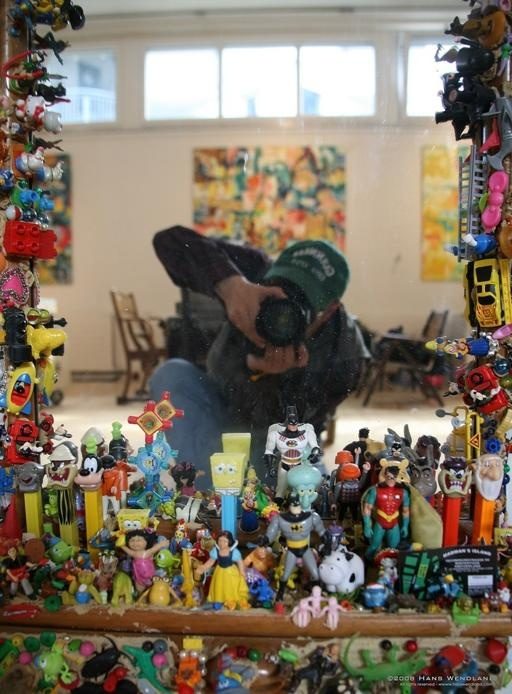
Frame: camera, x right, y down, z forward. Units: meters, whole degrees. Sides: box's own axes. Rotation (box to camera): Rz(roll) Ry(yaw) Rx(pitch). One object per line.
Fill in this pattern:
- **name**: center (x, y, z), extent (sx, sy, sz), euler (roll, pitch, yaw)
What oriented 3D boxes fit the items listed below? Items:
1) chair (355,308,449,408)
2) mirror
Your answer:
- **chair**: center (0.774, 0.029, 3.575), extent (0.517, 0.590, 0.491), euler (1, 3, -1)
- **mirror**: center (-0.460, -0.019, 3.299), extent (2.285, 2.112, 0.536), euler (3, -9, -1)
